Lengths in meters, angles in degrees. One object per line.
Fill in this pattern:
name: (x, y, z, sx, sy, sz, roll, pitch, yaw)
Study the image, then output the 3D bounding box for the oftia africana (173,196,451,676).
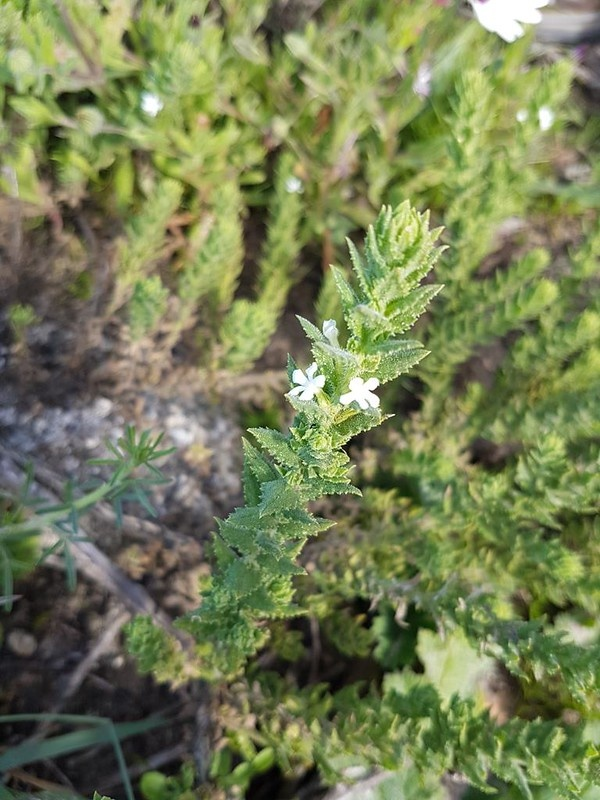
oftia africana: (0.001, 0.240, 2.428, 0.466, 1.352, 0.799, 37, 13, 10)
